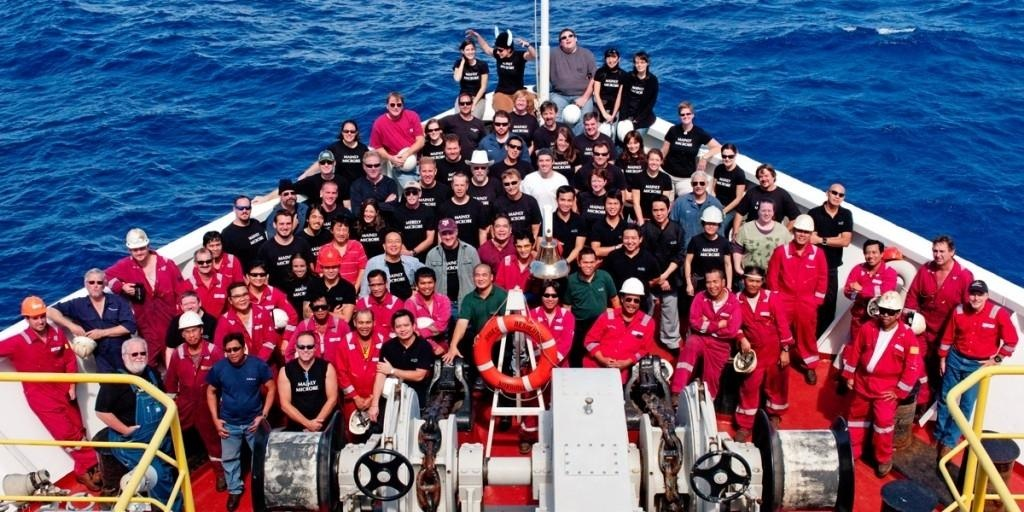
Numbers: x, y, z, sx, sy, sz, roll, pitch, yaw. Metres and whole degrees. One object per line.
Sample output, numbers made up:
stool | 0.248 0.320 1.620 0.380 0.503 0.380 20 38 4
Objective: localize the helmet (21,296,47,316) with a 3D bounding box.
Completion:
helmet | -13.118 1.386 29.531 0.578 0.489 0.398 -4 5 -19

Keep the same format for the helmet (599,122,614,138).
helmet | 3.036 -4.091 35.171 0.453 0.313 0.591 21 -29 9

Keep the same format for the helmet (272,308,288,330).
helmet | -6.605 1.780 30.581 0.444 0.498 0.544 -1 7 -21

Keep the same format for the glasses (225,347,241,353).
glasses | -7.541 2.514 29.030 0.368 0.116 0.067 -3 4 -11

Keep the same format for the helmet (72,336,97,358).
helmet | -12.034 2.508 30.218 0.637 0.462 0.591 30 -8 -5

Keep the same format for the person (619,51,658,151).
person | 4.161 -5.250 35.821 1.291 2.962 1.091 8 1 10

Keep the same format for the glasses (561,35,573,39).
glasses | 1.784 -7.378 36.332 0.378 0.113 0.145 0 5 22

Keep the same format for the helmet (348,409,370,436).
helmet | -4.208 4.549 29.455 0.529 0.641 0.340 -3 4 -13

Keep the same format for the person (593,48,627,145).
person | 3.311 -5.370 36.003 1.076 2.957 0.988 12 1 44

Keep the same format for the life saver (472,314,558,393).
life saver | 0.078 2.644 29.153 2.220 2.137 0.546 -2 4 -2
